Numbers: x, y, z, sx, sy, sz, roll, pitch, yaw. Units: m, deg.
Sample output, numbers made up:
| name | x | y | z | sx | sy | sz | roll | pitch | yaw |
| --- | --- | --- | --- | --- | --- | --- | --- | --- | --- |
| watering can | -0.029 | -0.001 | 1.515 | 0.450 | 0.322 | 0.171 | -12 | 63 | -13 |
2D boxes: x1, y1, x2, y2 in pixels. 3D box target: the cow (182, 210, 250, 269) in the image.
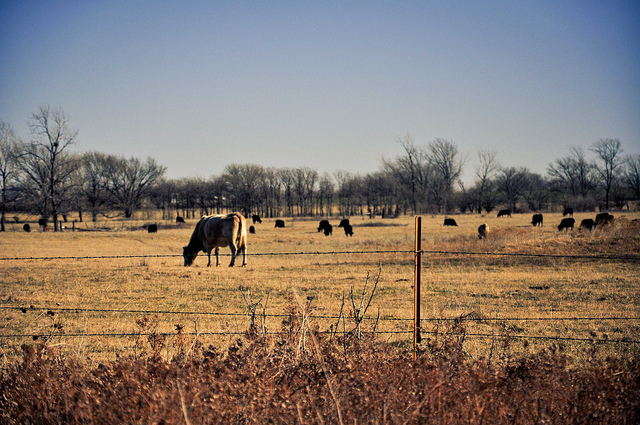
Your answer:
| name | x | y | z | sx | sy | sz | roll | pitch | yaw |
| --- | --- | --- | --- | --- | --- | --- | --- | --- | --- |
| cow | -6.093 | 1.620 | 49.968 | 3.491 | 3.047 | 7.326 | 0 | -1 | -6 |

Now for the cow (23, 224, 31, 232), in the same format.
| name | x | y | z | sx | sy | sz | roll | pitch | yaw |
| --- | --- | --- | --- | --- | --- | --- | --- | --- | --- |
| cow | -28.620 | 1.522 | 82.097 | 0.716 | 0.789 | 0.816 | -7 | -9 | 21 |

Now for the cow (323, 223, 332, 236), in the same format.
| name | x | y | z | sx | sy | sz | roll | pitch | yaw |
| --- | --- | --- | --- | --- | --- | --- | --- | --- | --- |
| cow | 0.708 | 1.605 | 74.979 | 0.774 | 0.839 | 1.427 | -1 | 2 | 0 |

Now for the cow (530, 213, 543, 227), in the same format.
| name | x | y | z | sx | sy | sz | roll | pitch | yaw |
| --- | --- | --- | --- | --- | --- | --- | --- | --- | --- |
| cow | 20.144 | 0.787 | 77.512 | 0.977 | 1.701 | 2.863 | 2 | 4 | 22 |

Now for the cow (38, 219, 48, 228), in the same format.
| name | x | y | z | sx | sy | sz | roll | pitch | yaw |
| --- | --- | --- | --- | --- | --- | --- | --- | --- | --- |
| cow | -28.749 | 1.058 | 87.190 | 0.860 | 1.274 | 1.181 | 1 | -5 | -18 |

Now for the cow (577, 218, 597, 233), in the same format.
| name | x | y | z | sx | sy | sz | roll | pitch | yaw |
| --- | --- | --- | --- | --- | --- | --- | --- | --- | --- |
| cow | 19.852 | 1.007 | 62.393 | 0.604 | 1.225 | 2.213 | 4 | 6 | 27 |

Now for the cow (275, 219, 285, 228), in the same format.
| name | x | y | z | sx | sy | sz | roll | pitch | yaw |
| --- | --- | --- | --- | --- | --- | --- | --- | --- | --- |
| cow | -4.122 | 1.201 | 86.708 | 0.967 | 0.773 | 2.138 | 0 | -1 | -2 |

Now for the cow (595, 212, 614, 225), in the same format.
| name | x | y | z | sx | sy | sz | roll | pitch | yaw |
| --- | --- | --- | --- | --- | --- | --- | --- | --- | --- |
| cow | 22.822 | 0.511 | 67.393 | 0.658 | 1.554 | 2.822 | 4 | 8 | 31 |

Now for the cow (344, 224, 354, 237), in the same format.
| name | x | y | z | sx | sy | sz | roll | pitch | yaw |
| --- | --- | --- | --- | --- | --- | --- | --- | --- | --- |
| cow | 2.600 | 1.747 | 72.907 | 0.511 | 1.136 | 0.985 | -2 | -39 | -2 |

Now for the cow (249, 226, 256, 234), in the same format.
| name | x | y | z | sx | sy | sz | roll | pitch | yaw |
| --- | --- | --- | --- | --- | --- | --- | --- | --- | --- |
| cow | -6.399 | 1.650 | 78.969 | 0.619 | 0.752 | 0.677 | 11 | 26 | 38 |
